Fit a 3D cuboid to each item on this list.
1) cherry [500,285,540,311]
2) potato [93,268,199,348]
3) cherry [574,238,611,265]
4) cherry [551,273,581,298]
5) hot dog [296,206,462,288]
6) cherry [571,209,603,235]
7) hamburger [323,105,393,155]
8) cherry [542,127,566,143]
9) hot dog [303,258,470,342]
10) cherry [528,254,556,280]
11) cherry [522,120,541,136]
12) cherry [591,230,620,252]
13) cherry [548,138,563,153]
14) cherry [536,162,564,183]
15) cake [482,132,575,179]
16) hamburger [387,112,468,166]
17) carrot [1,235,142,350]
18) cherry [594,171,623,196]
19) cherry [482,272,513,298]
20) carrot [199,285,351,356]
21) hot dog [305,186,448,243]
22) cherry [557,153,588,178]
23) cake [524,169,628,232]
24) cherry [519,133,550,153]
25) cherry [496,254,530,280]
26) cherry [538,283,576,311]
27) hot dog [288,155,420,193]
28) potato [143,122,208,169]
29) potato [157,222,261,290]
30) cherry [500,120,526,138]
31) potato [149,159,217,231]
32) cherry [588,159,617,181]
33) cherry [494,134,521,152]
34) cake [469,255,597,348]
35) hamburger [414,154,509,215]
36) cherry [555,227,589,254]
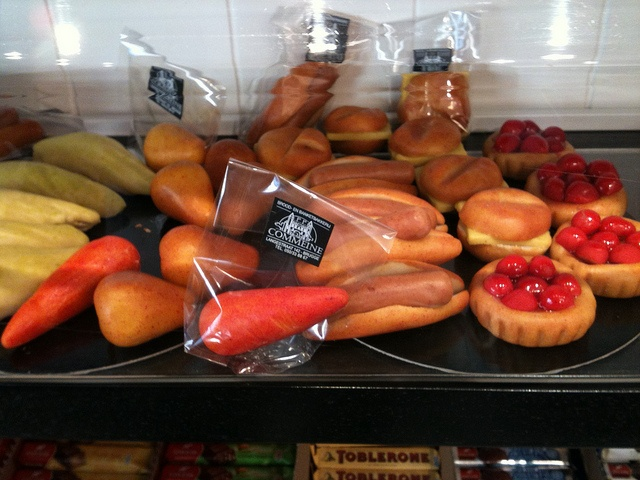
[{"bbox_3d":[0.241,0.069,0.588,0.031,0.015,0.029,8,34,16],"label":"cherry"},{"bbox_3d":[-0.217,0.084,0.634,0.128,0.076,0.082,0,30,-32],"label":"potato"},{"bbox_3d":[0.358,0.018,0.638,0.037,0.024,0.031,-31,42,-13],"label":"cherry"},{"bbox_3d":[0.306,0.055,0.594,0.028,0.017,0.030,-27,61,-12],"label":"cherry"},{"bbox_3d":[0.084,0.020,0.633,0.198,0.057,0.087,-16,15,-11],"label":"hot dog"},{"bbox_3d":[0.367,-0.023,0.665,0.041,0.033,0.038,-1,-1,3],"label":"cherry"},{"bbox_3d":[0.067,-0.189,0.892,0.111,0.057,0.097,-8,49,-8],"label":"hamburger"},{"bbox_3d":[0.403,-0.179,0.826,0.032,0.018,0.034,-5,19,3],"label":"cherry"},{"bbox_3d":[0.084,0.077,0.577,0.203,0.075,0.057,-7,-3,-6],"label":"hot dog"},{"bbox_3d":[0.280,0.036,0.608,0.029,0.017,0.030,9,61,15],"label":"cherry"},{"bbox_3d":[0.371,-0.196,0.849,0.032,0.019,0.034,5,40,8],"label":"cherry"},{"bbox_3d":[0.383,0.000,0.651,0.031,0.016,0.030,-34,42,-17],"label":"cherry"},{"bbox_3d":[0.394,-0.157,0.805,0.025,0.015,0.029,1,20,9],"label":"cherry"},{"bbox_3d":[0.351,-0.104,0.740,0.032,0.017,0.029,23,64,37],"label":"cherry"},{"bbox_3d":[0.360,-0.127,0.828,0.112,0.037,0.097,-8,29,6],"label":"cake"},{"bbox_3d":[0.183,-0.159,0.845,0.110,0.047,0.093,-22,38,-2],"label":"hamburger"},{"bbox_3d":[-0.317,0.068,0.651,0.210,0.081,0.079,-37,2,-16],"label":"carrot"},{"bbox_3d":[0.425,-0.080,0.705,0.038,0.019,0.031,4,73,12],"label":"cherry"},{"bbox_3d":[0.222,0.058,0.604,0.032,0.017,0.031,34,71,28],"label":"cherry"},{"bbox_3d":[-0.062,0.091,0.591,0.188,0.071,0.060,-14,70,2],"label":"carrot"},{"bbox_3d":[0.075,-0.042,0.670,0.178,0.041,0.074,8,46,-6],"label":"hot dog"},{"bbox_3d":[0.380,-0.113,0.746,0.043,0.036,0.033,-11,49,2],"label":"cherry"},{"bbox_3d":[0.376,-0.063,0.723,0.099,0.034,0.096,19,39,32],"label":"cake"},{"bbox_3d":[0.358,-0.158,0.804,0.034,0.020,0.036,4,48,21],"label":"cherry"},{"bbox_3d":[0.244,0.035,0.618,0.036,0.027,0.019,-26,-5,8],"label":"cherry"},{"bbox_3d":[0.283,0.070,0.579,0.038,0.019,0.028,10,64,23],"label":"cherry"},{"bbox_3d":[0.061,-0.099,0.725,0.160,0.041,0.065,0,55,1],"label":"hot dog"},{"bbox_3d":[-0.247,-0.165,0.880,0.110,0.074,0.065,7,76,2],"label":"potato"},{"bbox_3d":[-0.143,0.023,0.634,0.136,0.063,0.068,5,28,10],"label":"potato"},{"bbox_3d":[0.338,-0.195,0.847,0.040,0.020,0.028,8,53,20],"label":"cherry"},{"bbox_3d":[-0.207,-0.065,0.732,0.106,0.078,0.078,45,66,0],"label":"potato"},{"bbox_3d":[0.423,-0.106,0.728,0.035,0.020,0.037,-4,41,2],"label":"cherry"},{"bbox_3d":[0.319,-0.163,0.821,0.041,0.037,0.026,11,68,-16],"label":"cherry"},{"bbox_3d":[0.259,0.096,0.578,0.143,0.044,0.116,-6,38,-1],"label":"cake"},{"bbox_3d":[0.219,-0.092,0.736,0.114,0.049,0.101,-7,34,1],"label":"hamburger"},{"bbox_3d":[0.342,0.000,0.663,0.040,0.022,0.031,-38,56,-1],"label":"cherry"}]
